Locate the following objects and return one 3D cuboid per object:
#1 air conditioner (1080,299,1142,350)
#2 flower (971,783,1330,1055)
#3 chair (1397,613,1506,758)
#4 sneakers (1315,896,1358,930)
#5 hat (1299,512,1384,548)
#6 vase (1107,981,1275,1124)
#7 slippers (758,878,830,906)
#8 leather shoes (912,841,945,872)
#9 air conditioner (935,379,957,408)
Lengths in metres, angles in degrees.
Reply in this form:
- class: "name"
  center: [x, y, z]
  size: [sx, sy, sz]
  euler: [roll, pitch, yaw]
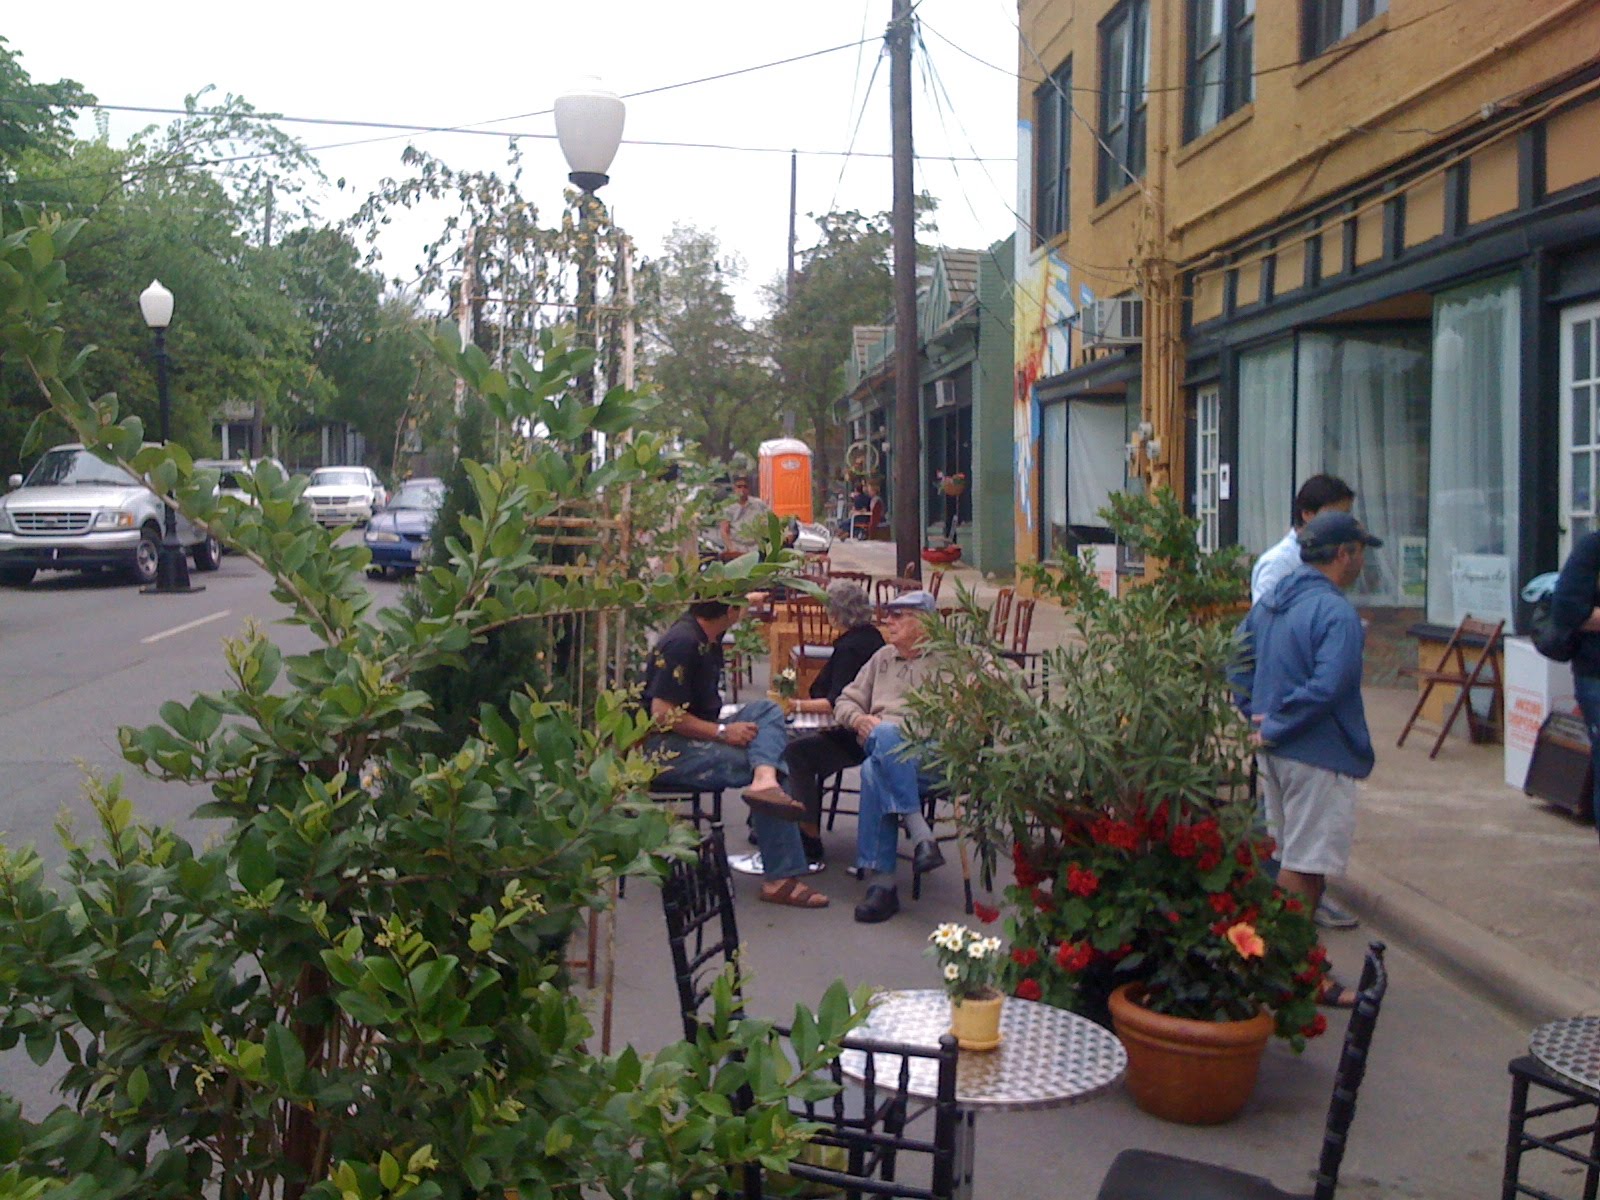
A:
- class: "air conditioner"
  center: [3.640, -3.255, 16.730]
  size: [0.852, 0.582, 0.661]
  euler: [-3, -2, -3]
- class: "flower"
  center: [1.385, 1.192, 5.311]
  size: [1.044, 0.907, 0.954]
  euler: [2, 0, 24]
- class: "chair"
  center: [4.873, 0.592, 10.398]
  size: [0.610, 1.004, 1.125]
  euler: [12, 6, 27]
- class: "sneakers"
  center: [2.709, 1.583, 7.174]
  size: [0.093, 0.138, 0.279]
  euler: [-3, -3, -4]
- class: "hat"
  center: [2.583, -0.324, 6.609]
  size: [0.404, 0.194, 0.292]
  euler: [0, 10, -8]
- class: "vase"
  center: [1.424, 1.680, 5.137]
  size: [0.456, 0.363, 0.497]
  euler: [1, -2, -11]
- class: "slippers"
  center: [-0.046, 1.519, 7.543]
  size: [0.327, 0.159, 0.148]
  euler: [0, 6, 12]
- class: "leather shoes"
  center: [0.689, 1.399, 7.747]
  size: [0.167, 0.223, 0.504]
  euler: [-4, -9, 4]
- class: "air conditioner"
  center: [2.787, -4.026, 27.485]
  size: [0.421, 0.660, 0.443]
  euler: [-1, 1, 38]
